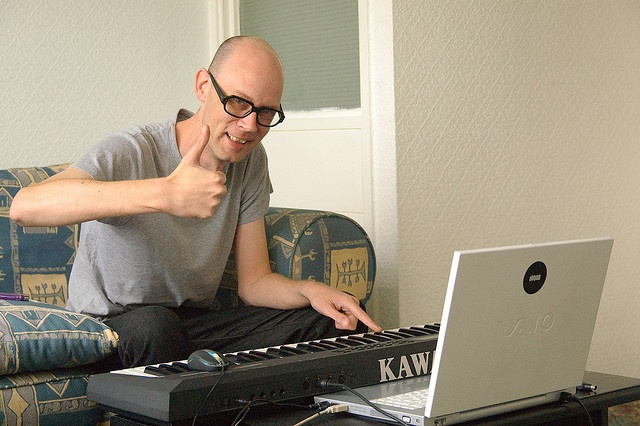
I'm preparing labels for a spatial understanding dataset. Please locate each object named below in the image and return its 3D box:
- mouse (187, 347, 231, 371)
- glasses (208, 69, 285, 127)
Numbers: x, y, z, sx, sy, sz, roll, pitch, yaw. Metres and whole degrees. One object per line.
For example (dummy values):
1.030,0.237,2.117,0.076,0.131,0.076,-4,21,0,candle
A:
-0.249,0.319,1.223,0.067,0.023,0.047,-3,-6,25,mouse
-0.225,-0.361,1.863,0.218,0.064,0.238,16,20,-8,glasses
